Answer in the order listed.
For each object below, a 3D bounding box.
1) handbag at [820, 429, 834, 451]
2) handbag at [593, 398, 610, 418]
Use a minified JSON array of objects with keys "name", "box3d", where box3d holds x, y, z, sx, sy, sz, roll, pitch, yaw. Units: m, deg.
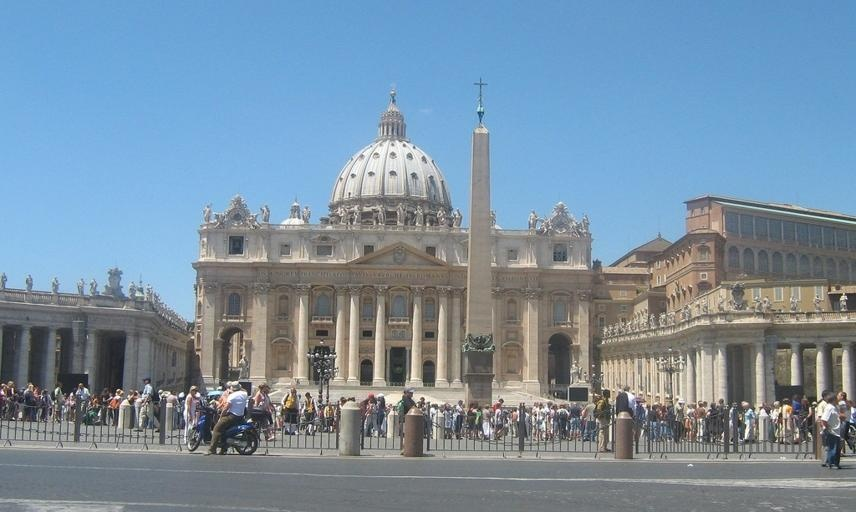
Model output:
[{"name":"handbag","box3d":[21.210,9.822,73.589,0.415,0.861,1.043,2,-14,-5]},{"name":"handbag","box3d":[10.194,8.918,80.857,0.984,1.261,1.230,-1,-14,7]}]
